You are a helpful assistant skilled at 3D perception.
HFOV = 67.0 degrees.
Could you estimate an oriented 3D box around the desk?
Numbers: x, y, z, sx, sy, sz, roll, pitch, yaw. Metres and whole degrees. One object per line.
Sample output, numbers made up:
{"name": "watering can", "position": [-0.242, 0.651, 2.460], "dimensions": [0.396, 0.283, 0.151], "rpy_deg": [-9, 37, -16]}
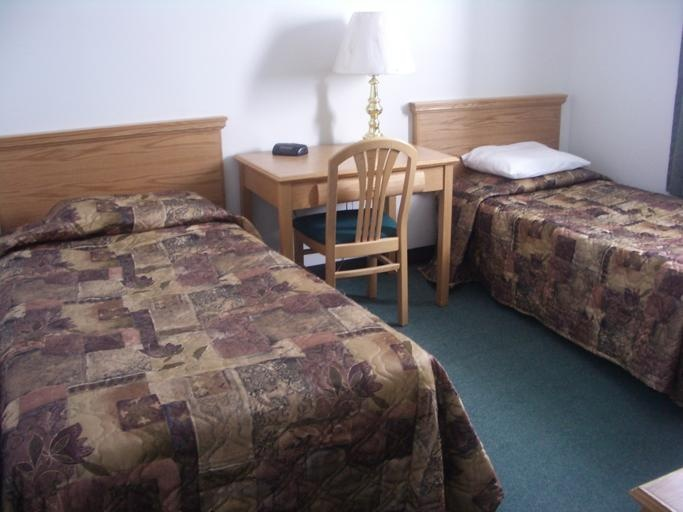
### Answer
{"name": "desk", "position": [0.052, -0.233, 2.971], "dimensions": [1.040, 0.741, 0.781], "rpy_deg": [-8, 25, -13]}

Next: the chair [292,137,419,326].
{"name": "chair", "position": [0.049, -0.136, 2.713], "dimensions": [0.613, 0.993, 0.641], "rpy_deg": [-1, 18, -3]}

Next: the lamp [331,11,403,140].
{"name": "lamp", "position": [0.030, -1.106, 3.044], "dimensions": [0.519, 0.806, 0.554], "rpy_deg": [-4, 28, -4]}
